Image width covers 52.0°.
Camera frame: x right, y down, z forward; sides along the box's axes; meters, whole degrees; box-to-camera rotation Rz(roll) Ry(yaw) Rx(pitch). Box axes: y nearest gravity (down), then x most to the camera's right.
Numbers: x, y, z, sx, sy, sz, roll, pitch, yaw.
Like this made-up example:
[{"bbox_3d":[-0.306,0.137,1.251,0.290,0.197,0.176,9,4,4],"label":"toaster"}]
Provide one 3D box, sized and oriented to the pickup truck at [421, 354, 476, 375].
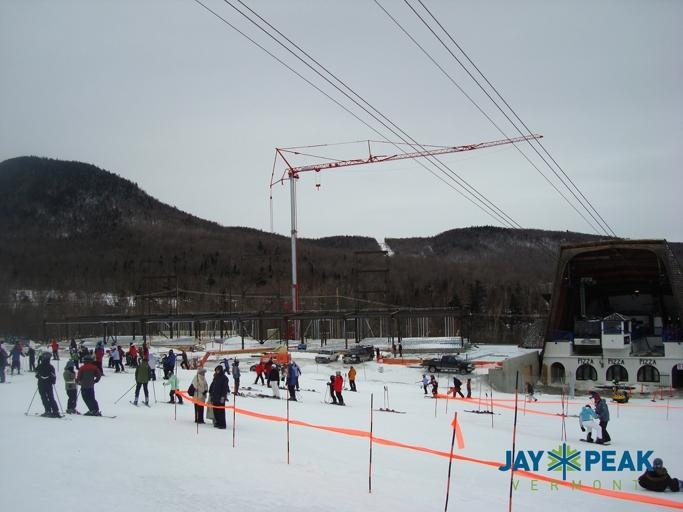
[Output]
[{"bbox_3d":[9.276,9.318,59.962,3.240,1.438,1.771,-2,-4,17],"label":"pickup truck"}]
